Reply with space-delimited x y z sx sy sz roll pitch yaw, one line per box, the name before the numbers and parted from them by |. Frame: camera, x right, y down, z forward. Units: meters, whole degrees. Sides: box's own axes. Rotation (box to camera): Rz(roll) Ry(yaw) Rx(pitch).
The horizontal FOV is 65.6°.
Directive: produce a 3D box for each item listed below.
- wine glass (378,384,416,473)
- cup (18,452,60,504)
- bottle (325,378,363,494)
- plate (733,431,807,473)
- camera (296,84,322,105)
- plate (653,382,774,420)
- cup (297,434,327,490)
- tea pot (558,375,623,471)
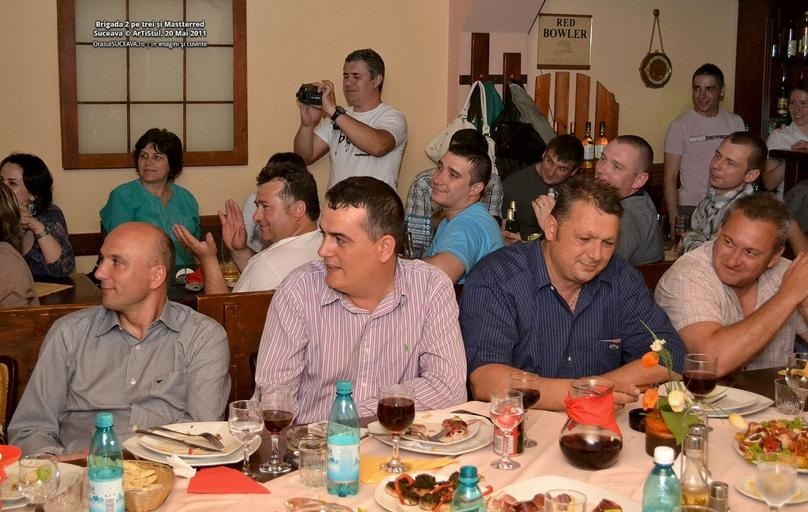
wine glass | -0.024 0.556 2.026 0.114 0.241 0.142 -1 7 -3
cup | -1.015 0.613 1.743 0.114 0.127 0.113 0 -5 0
bottle | -0.189 0.556 1.908 0.099 0.337 0.073 -2 7 -9
plate | 1.156 0.651 2.004 0.188 0.033 0.197 2 0 3
camera | -0.787 -1.344 5.245 0.253 0.182 0.067 2 8 23
plate | 1.109 0.524 2.248 0.206 0.030 0.206 0 8 10
cup | -0.289 0.630 1.962 0.124 0.171 0.122 1 4 0
tea pot | 0.589 0.551 2.081 0.246 0.329 0.246 0 -5 0
